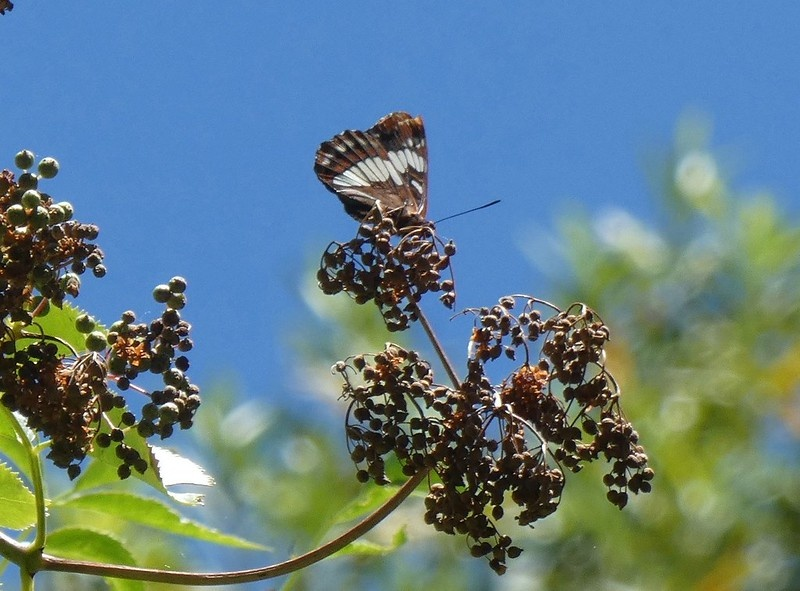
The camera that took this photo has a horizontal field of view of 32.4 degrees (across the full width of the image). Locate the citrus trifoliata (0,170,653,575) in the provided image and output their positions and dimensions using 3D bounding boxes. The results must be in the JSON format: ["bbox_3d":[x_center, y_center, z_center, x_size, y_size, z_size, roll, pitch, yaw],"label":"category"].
[{"bbox_3d":[-0.209,0.234,3.325,1.501,0.566,0.862,27,-23,-20],"label":"citrus trifoliata"}]
